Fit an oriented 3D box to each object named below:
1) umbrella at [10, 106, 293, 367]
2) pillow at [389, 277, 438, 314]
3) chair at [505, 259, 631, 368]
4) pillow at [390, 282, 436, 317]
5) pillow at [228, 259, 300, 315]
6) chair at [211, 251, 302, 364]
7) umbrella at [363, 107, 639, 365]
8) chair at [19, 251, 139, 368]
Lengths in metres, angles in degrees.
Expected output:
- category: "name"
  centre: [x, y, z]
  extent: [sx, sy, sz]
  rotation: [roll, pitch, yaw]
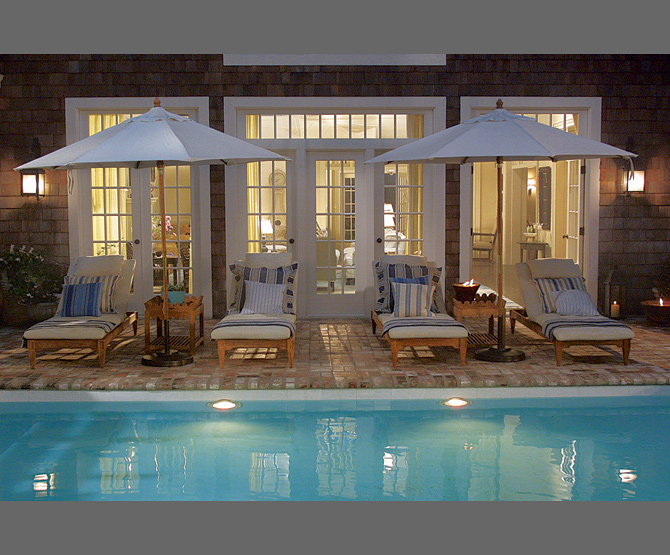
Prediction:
- category: "umbrella"
  centre: [-1.599, -0.405, 5.531]
  extent: [1.986, 2.418, 1.149]
  rotation: [0, 8, 7]
- category: "pillow"
  centre: [0.790, 0.192, 6.330]
  extent: [0.439, 0.375, 0.175]
  rotation: [5, 2, -1]
- category: "chair"
  centre: [2.330, 0.348, 6.086]
  extent: [0.875, 0.726, 1.292]
  rotation: [-1, 9, -4]
- category: "pillow"
  centre: [0.800, 0.227, 6.209]
  extent: [0.393, 0.305, 0.118]
  rotation: [3, -29, 3]
- category: "pillow"
  centre: [-0.769, 0.146, 6.534]
  extent: [0.655, 0.563, 0.181]
  rotation: [1, -17, -8]
- category: "chair"
  centre: [-0.784, 0.248, 6.178]
  extent: [0.811, 0.794, 1.427]
  rotation: [1, 10, 1]
- category: "umbrella"
  centre: [1.529, -0.457, 5.889]
  extent: [1.813, 2.531, 1.368]
  rotation: [-4, 8, -20]
- category: "chair"
  centre: [-2.603, 0.270, 6.122]
  extent: [0.860, 0.743, 1.386]
  rotation: [1, 12, -8]
